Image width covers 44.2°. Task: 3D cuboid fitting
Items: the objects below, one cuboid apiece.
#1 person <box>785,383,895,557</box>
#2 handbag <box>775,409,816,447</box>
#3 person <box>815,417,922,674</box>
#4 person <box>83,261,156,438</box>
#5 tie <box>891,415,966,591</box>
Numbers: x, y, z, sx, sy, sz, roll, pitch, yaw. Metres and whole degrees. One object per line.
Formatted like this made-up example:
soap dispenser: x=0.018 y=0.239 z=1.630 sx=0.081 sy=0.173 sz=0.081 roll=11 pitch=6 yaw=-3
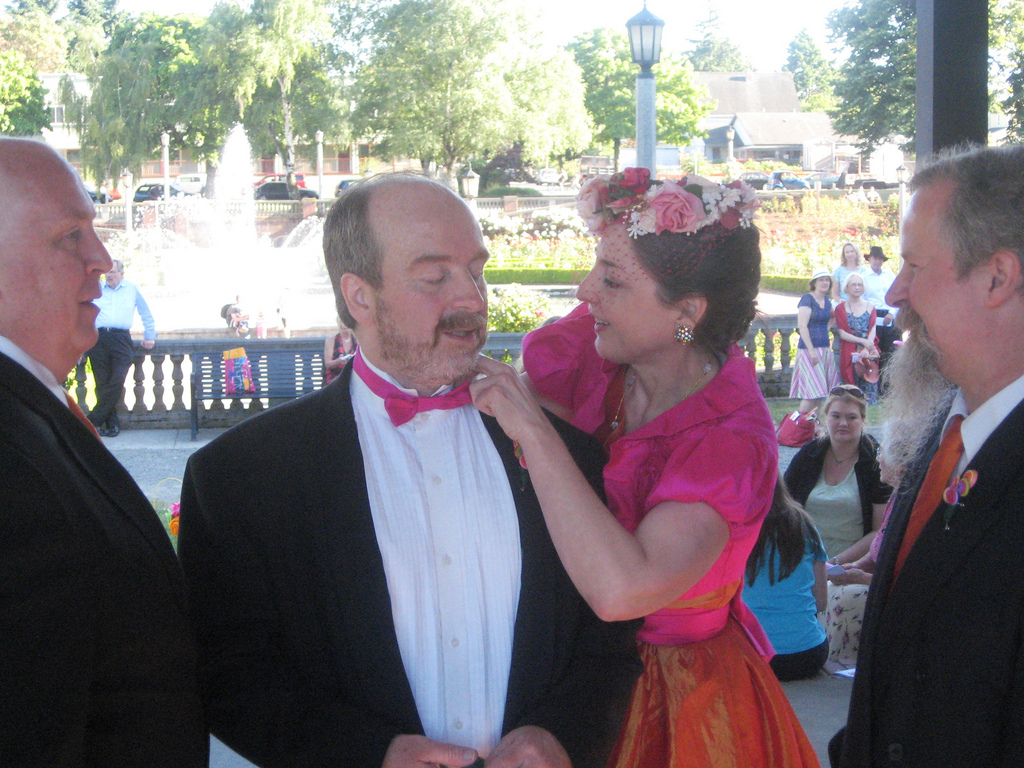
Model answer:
person: x=1.754 y=0.521 z=6.755 sx=0.543 sy=0.956 sz=0.576 roll=14 pitch=17 yaw=18
handbag: x=2.279 y=0.362 z=10.120 sx=0.266 sy=0.293 sz=0.161 roll=3 pitch=-4 yaw=14
person: x=1.587 y=0.800 z=6.207 sx=0.589 sy=1.426 sz=0.845 roll=-1 pitch=15 yaw=10
person: x=-3.531 y=-0.302 z=10.996 sx=0.737 sy=1.569 sz=0.377 roll=2 pitch=3 yaw=-25
tie: x=1.166 y=0.298 z=3.566 sx=0.208 sy=0.470 sz=0.211 roll=19 pitch=19 yaw=16
